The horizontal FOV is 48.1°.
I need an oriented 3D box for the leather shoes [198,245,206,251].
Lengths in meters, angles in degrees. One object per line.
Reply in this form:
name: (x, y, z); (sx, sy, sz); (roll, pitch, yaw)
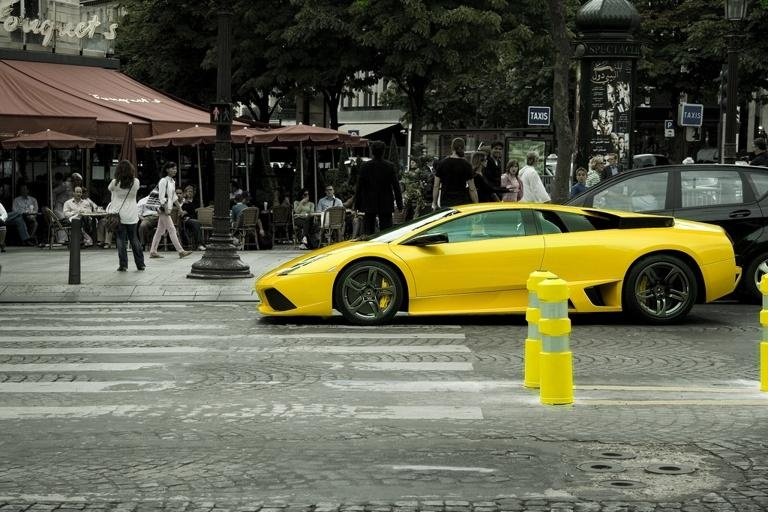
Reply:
leather shoes: (-4.741, -0.226, 22.200); (0.223, 0.055, 0.141); (-2, 17, -9)

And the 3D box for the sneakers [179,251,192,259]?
sneakers: (-4.681, -0.052, 19.999); (0.319, 0.116, 0.102); (-11, 28, 11)

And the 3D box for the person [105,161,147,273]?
person: (-5.289, -0.842, 17.496); (0.686, 2.181, 1.239); (-2, 7, -17)

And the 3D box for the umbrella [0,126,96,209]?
umbrella: (-8.823, -2.665, 22.829); (1.588, 1.210, 1.557); (1, 7, -3)

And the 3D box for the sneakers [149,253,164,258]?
sneakers: (-5.349, -0.030, 20.145); (0.291, 0.157, 0.094); (-4, 24, -16)

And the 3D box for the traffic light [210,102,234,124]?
traffic light: (-3.158, -2.728, 16.550); (0.372, 0.378, 0.235); (-2, 7, -15)

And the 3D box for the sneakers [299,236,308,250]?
sneakers: (-2.175, -0.316, 22.802); (0.193, 0.183, 0.473); (-2, -6, 0)

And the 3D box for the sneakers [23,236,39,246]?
sneakers: (-9.754, -0.386, 23.660); (0.172, 0.215, 0.526); (35, -20, -1)

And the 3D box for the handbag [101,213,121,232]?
handbag: (-5.515, -0.704, 17.422); (0.419, 0.333, 0.301); (-3, 2, -30)
